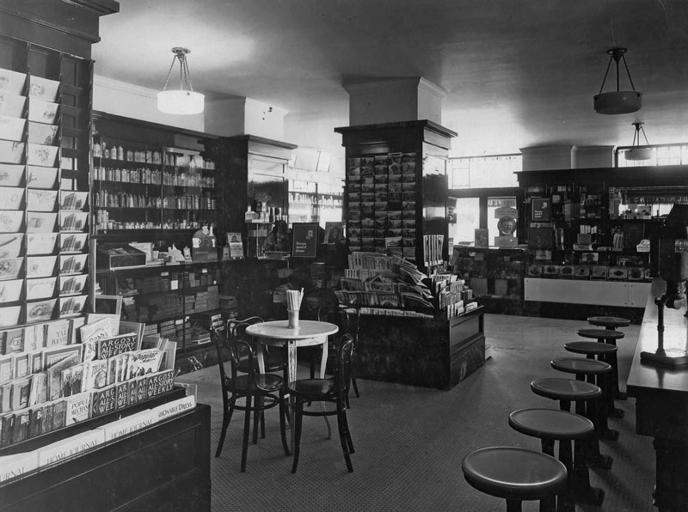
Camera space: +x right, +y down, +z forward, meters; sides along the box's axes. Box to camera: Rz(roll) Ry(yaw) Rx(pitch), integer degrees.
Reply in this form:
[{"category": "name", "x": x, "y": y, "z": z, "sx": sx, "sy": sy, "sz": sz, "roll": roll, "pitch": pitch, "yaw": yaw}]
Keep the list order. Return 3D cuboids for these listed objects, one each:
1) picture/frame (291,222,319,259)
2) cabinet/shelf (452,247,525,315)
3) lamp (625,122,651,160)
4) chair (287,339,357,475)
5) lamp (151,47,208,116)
[{"category": "picture/frame", "x": -0.552, "y": -0.211, "z": 7.875, "sx": 0.369, "sy": 0.534, "sz": 0.043, "roll": 1, "pitch": 22, "yaw": -9}, {"category": "cabinet/shelf", "x": 2.794, "y": 0.486, "z": 10.580, "sx": 1.226, "sy": 1.215, "sz": 0.422, "roll": 2, "pitch": 4, "yaw": 24}, {"category": "lamp", "x": 5.160, "y": -2.054, "z": 9.852, "sx": 0.445, "sy": 0.692, "sz": 0.457, "roll": -16, "pitch": 15, "yaw": -32}, {"category": "chair", "x": -0.193, "y": 1.263, "z": 4.826, "sx": 0.535, "sy": 0.992, "sz": 0.539, "roll": 3, "pitch": -11, "yaw": -3}, {"category": "lamp", "x": -1.826, "y": -1.948, "z": 6.231, "sx": 0.512, "sy": 0.605, "sz": 0.530, "roll": 7, "pitch": 18, "yaw": 8}]
